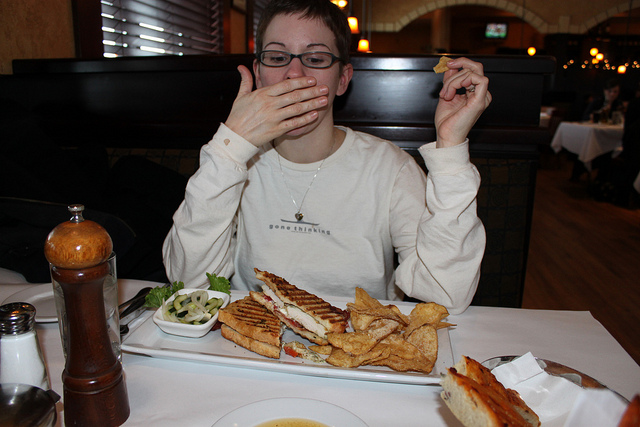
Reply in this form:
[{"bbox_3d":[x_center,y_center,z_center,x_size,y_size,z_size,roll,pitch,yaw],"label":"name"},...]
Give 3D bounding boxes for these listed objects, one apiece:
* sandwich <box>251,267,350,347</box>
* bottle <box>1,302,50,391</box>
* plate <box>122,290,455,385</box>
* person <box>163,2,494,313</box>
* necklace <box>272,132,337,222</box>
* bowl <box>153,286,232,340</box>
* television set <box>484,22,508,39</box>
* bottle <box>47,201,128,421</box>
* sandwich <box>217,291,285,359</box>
[{"bbox_3d":[-0.067,0.357,1.702,0.368,0.110,0.236,22,28,6],"label":"sandwich"},{"bbox_3d":[-0.875,0.401,1.305,0.103,0.263,0.120,-5,20,-21],"label":"bottle"},{"bbox_3d":[-0.275,0.600,1.756,1.010,0.100,0.548,11,-18,1],"label":"plate"},{"bbox_3d":[0.031,-0.171,2.067,1.379,1.510,0.765,3,18,4],"label":"person"},{"bbox_3d":[-0.073,-0.186,2.224,0.325,0.404,0.221,0,18,-7],"label":"necklace"},{"bbox_3d":[-0.462,0.416,1.725,0.296,0.073,0.289,-7,2,0],"label":"bowl"},{"bbox_3d":[6.503,-6.737,16.572,0.645,0.453,0.087,3,13,6],"label":"television set"},{"bbox_3d":[-0.704,0.309,1.339,0.200,0.645,0.198,2,18,-1],"label":"bottle"},{"bbox_3d":[-0.227,0.428,1.695,0.330,0.080,0.308,12,10,-15],"label":"sandwich"}]
